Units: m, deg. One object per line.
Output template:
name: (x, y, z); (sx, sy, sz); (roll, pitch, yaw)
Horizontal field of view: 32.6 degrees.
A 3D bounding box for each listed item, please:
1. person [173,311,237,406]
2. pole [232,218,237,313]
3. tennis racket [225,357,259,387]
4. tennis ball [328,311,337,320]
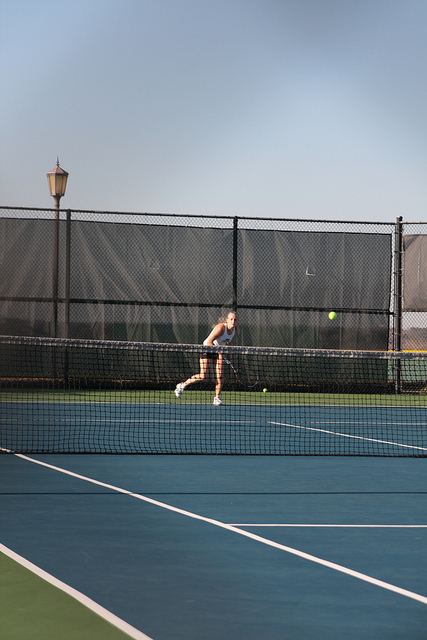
person: (-0.114, 0.526, 10.478); (0.743, 1.422, 0.744); (9, -1, 8)
pole: (0.352, -0.926, 12.341); (0.084, 1.550, 0.154); (1, 1, -7)
tennis racket: (0.433, 0.858, 12.135); (0.703, 0.306, 0.038); (36, 8, 24)
tennis ball: (2.039, -0.068, 12.537); (0.106, 0.126, 0.106); (0, -45, 0)
